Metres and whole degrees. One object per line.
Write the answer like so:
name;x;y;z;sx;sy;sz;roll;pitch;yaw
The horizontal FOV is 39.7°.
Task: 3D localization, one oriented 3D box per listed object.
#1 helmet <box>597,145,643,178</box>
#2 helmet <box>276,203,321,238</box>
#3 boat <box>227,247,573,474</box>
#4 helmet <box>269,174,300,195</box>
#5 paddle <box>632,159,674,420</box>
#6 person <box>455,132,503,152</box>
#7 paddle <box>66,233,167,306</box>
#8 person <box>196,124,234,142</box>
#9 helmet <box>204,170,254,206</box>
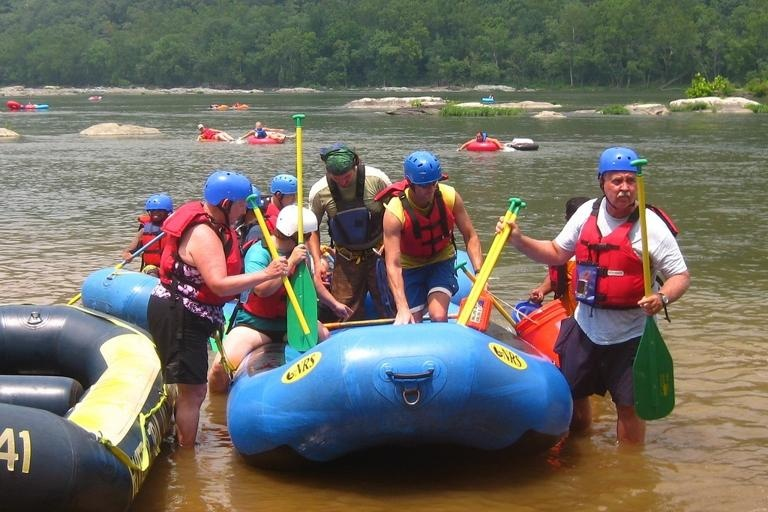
helmet;2.453;-0.978;11.171;0.385;0.272;0.584;0;15;13
helmet;-0.984;-0.410;12.136;0.457;0.345;0.308;-19;17;4
boat;0.204;1.676;12.730;3.632;1.423;4.857;-4;-4;-5
helmet;-1.335;-0.944;14.343;0.375;0.312;0.271;-3;17;1
paddle;2.788;0.440;11.064;0.406;2.919;0.490;0;18;13
person;3.404;-3.765;36.471;1.200;0.482;0.958;0;-2;9
paddle;-3.806;0.226;15.248;1.926;0.226;0.156;-34;7;-9
person;-6.990;-4.911;43.423;1.675;0.592;1.034;9;18;17
helmet;-1.699;-0.705;11.613;0.562;0.308;0.391;9;2;-15
